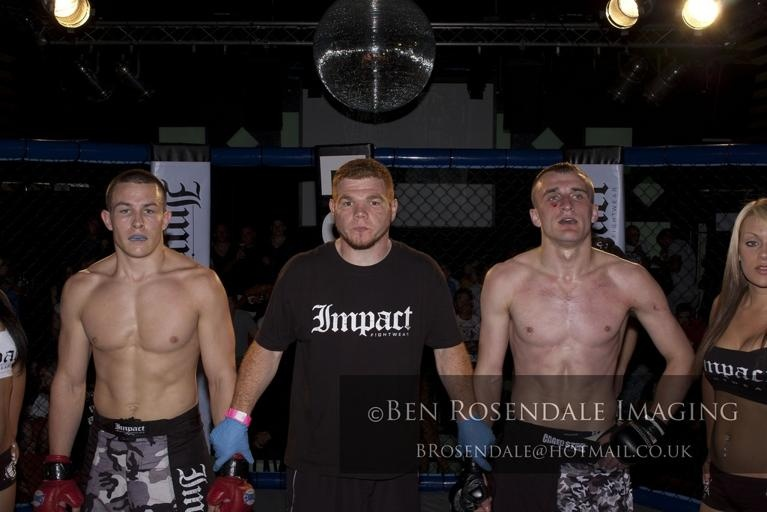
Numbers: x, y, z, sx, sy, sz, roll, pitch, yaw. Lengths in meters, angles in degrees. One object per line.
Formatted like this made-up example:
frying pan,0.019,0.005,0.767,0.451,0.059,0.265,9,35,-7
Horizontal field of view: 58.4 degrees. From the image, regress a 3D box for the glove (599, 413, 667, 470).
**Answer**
glove,2.110,1.559,5.811,0.566,0.269,0.283,-1,0,11
